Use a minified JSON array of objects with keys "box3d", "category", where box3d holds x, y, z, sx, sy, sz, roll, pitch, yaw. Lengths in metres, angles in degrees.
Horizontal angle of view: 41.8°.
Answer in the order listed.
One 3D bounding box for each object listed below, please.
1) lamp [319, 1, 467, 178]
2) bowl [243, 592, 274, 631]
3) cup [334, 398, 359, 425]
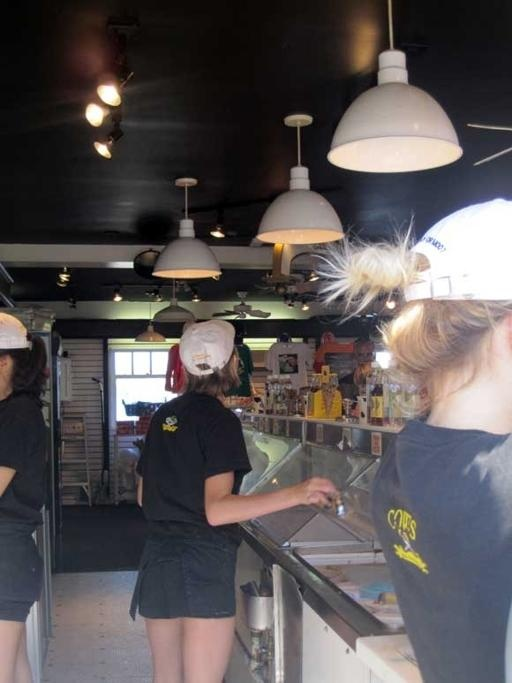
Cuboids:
[{"box3d":[0.419,-0.783,2.056,0.378,0.494,0.315,-1,-3,-15],"category":"lamp"},{"box3d":[0.036,1.071,2.704,0.157,0.152,0.146,1,-3,0],"category":"bowl"},{"box3d":[0.499,0.379,3.636,0.127,0.118,0.122,1,-7,0],"category":"cup"}]
